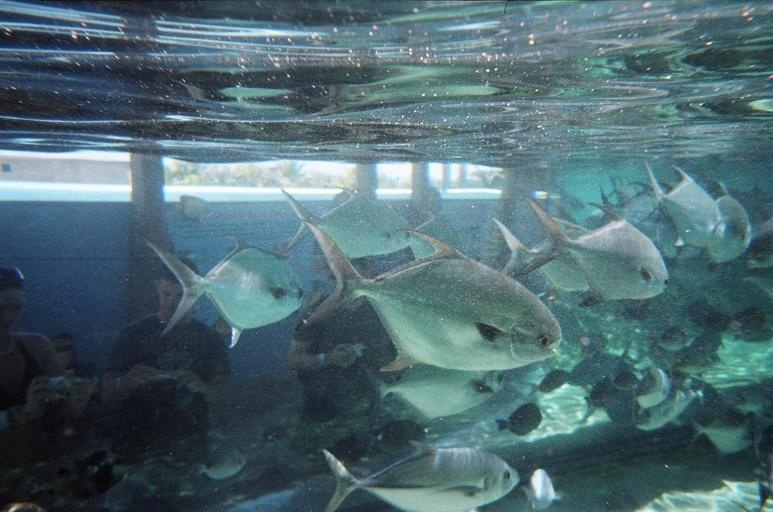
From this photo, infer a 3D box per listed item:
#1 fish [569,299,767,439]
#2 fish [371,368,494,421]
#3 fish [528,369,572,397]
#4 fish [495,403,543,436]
[{"bbox_3d":[3.225,1.502,7.618,1.746,1.140,0.484,-4,-4,-16],"label":"fish"},{"bbox_3d":[0.617,1.521,7.057,1.649,0.652,0.422,-1,15,3],"label":"fish"},{"bbox_3d":[1.956,1.523,7.592,0.515,0.199,0.118,-13,10,5],"label":"fish"},{"bbox_3d":[1.565,1.917,7.353,0.530,0.290,0.177,-4,-4,-5],"label":"fish"}]
